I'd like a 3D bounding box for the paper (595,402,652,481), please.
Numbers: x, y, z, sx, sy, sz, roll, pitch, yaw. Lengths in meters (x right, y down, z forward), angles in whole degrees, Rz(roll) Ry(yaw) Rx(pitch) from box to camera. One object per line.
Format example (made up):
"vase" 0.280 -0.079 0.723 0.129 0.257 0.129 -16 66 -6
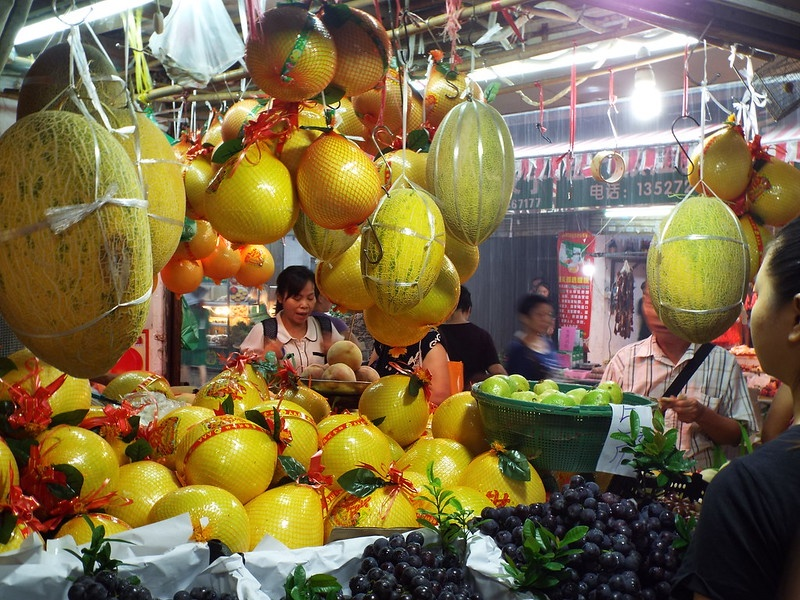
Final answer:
"paper" 0.706 0.443 2.052 0.197 0.300 0.022 5 0 -3

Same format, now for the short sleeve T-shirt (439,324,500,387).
"short sleeve T-shirt" 0.416 0.345 4.012 0.413 0.376 0.146 2 6 17

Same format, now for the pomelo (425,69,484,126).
"pomelo" 0.173 -0.674 2.312 0.203 0.267 0.204 -3 9 5

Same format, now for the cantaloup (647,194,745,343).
"cantaloup" 0.940 -0.102 2.042 0.261 0.462 0.286 -2 11 15

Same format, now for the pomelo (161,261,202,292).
"pomelo" -1.127 -0.118 3.375 0.166 0.213 0.164 13 -6 -23

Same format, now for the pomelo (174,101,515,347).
"pomelo" -0.068 -0.171 2.060 0.745 0.409 0.786 6 11 23

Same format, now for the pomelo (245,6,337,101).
"pomelo" -0.311 -0.727 1.902 0.267 0.269 0.172 3 8 -15

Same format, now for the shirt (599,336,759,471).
"shirt" 1.511 0.576 3.590 0.767 0.945 0.485 6 31 29

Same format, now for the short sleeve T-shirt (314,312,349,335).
"short sleeve T-shirt" -0.457 0.122 4.514 0.141 0.217 0.191 0 21 -30

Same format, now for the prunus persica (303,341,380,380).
"prunus persica" -0.266 0.307 3.072 0.194 0.172 0.291 -8 -21 31

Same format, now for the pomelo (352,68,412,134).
"pomelo" -0.057 -0.679 2.266 0.196 0.157 0.255 6 -15 -11
